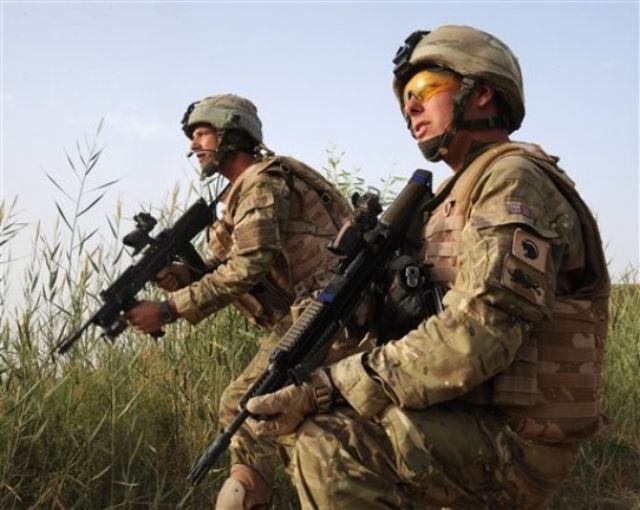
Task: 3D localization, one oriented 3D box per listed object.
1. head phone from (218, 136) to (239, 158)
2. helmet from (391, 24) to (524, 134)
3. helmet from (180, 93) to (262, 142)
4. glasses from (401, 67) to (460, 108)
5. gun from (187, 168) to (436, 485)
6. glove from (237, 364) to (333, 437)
[{"bbox_3d":[-0.668,-0.765,4.747,0.116,0.160,0.131,6,-9,-26],"label":"head phone"},{"bbox_3d":[0.715,-0.859,3.260,0.593,0.502,0.536,17,-11,0],"label":"helmet"},{"bbox_3d":[-0.662,-0.980,4.898,0.454,0.314,0.442,-2,-4,-13],"label":"helmet"},{"bbox_3d":[0.535,-0.773,3.111,0.188,0.121,0.147,13,-5,-23],"label":"glasses"},{"bbox_3d":[-0.046,0.376,3.376,0.294,2.215,0.851,21,-27,33],"label":"gun"},{"bbox_3d":[-0.152,0.621,2.847,0.363,0.234,0.150,-27,21,-11],"label":"glove"}]
